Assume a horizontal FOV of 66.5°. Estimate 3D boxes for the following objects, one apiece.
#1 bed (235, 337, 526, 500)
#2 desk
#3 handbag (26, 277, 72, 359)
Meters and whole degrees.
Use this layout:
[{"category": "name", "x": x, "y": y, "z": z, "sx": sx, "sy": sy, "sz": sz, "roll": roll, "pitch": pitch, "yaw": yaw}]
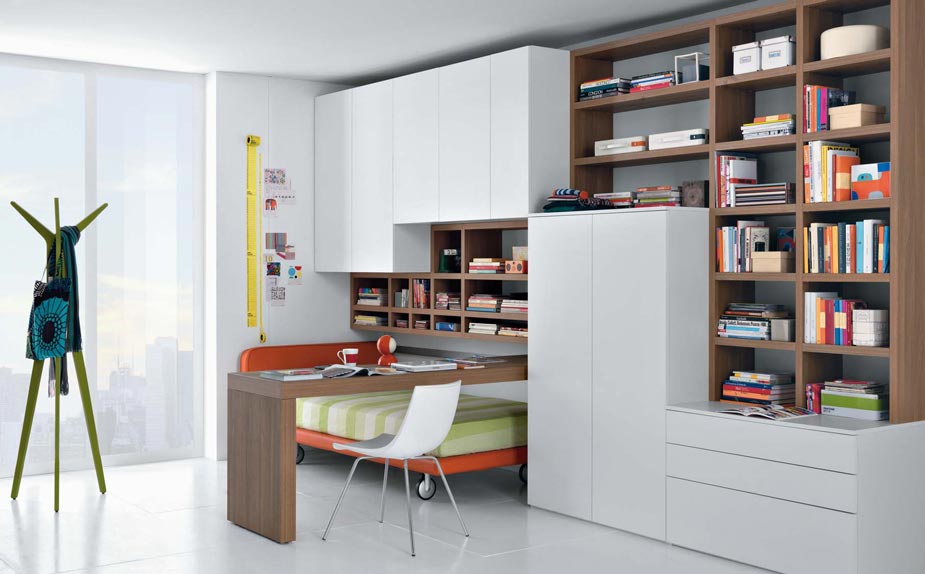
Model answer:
[{"category": "bed", "x": -0.805, "y": 1.120, "z": 6.657, "sx": 1.489, "sy": 0.783, "sz": 2.266, "roll": 0, "pitch": -1, "yaw": -41}, {"category": "desk", "x": -0.580, "y": 1.288, "z": 6.175, "sx": 2.698, "sy": 1.027, "sz": 0.946, "roll": 0, "pitch": -5, "yaw": -40}, {"category": "handbag", "x": -3.434, "y": 0.271, "z": 5.861, "sx": 0.334, "sy": 0.669, "sz": 0.163, "roll": -2, "pitch": 4, "yaw": -27}]
